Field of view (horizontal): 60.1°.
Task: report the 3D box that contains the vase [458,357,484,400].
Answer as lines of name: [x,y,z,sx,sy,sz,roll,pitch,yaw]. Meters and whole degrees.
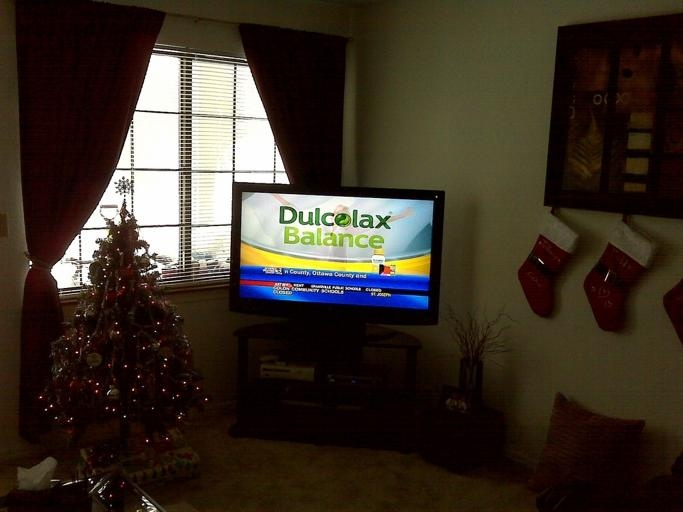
vase: [0.817,0.759,3.688,0.149,0.306,0.318,5,13,14]

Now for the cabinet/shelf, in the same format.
cabinet/shelf: [-0.068,0.822,3.785,1.106,0.707,0.793,2,4,8]
